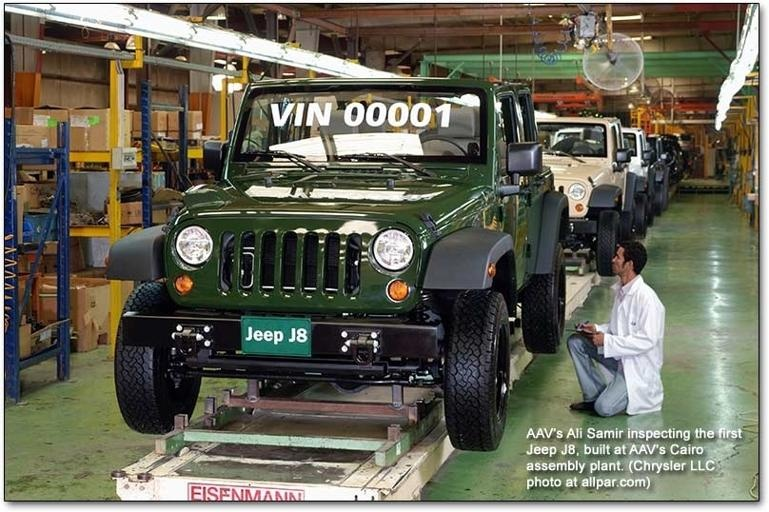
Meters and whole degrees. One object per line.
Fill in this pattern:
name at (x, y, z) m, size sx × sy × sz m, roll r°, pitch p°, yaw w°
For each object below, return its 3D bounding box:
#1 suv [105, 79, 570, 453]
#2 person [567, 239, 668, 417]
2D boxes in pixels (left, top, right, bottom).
suv at (0.095, -0.175, 5.892) m, size 2.216 × 1.826 × 3.878 m, roll 0°, pitch 3°, yaw 15°
person at (2.077, 0.649, 5.871) m, size 0.786 × 1.520 × 0.694 m, roll 1°, pitch 6°, yaw 22°
